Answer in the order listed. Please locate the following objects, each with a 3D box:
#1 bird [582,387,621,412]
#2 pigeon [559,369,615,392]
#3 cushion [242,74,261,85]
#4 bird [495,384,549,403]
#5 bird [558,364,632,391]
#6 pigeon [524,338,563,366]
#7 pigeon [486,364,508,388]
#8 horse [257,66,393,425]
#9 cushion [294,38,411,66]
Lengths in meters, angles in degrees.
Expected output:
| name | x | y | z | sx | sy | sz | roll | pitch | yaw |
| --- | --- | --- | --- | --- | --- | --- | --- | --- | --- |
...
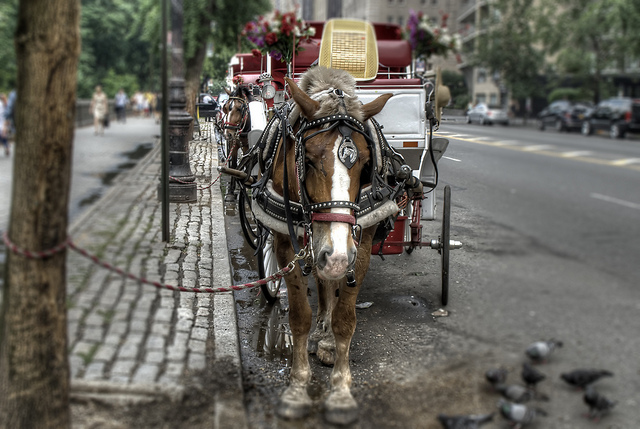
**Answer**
| name | x | y | z | sx | sy | sz | roll | pitch | yaw |
| --- | --- | --- | --- | --- | --- | --- | --- | --- | --- |
| bird | 2.991 | 1.968 | 7.030 | 0.346 | 0.268 | 0.220 | -1 | 10 | 3 |
| pigeon | 2.902 | 1.779 | 7.333 | 0.631 | 0.246 | 0.232 | -9 | 6 | 9 |
| cushion | -1.764 | -3.365 | 16.567 | 0.435 | 0.201 | 0.642 | -1 | 19 | 5 |
| bird | 2.167 | 1.907 | 7.149 | 0.599 | 0.224 | 0.193 | -3 | -6 | 19 |
| bird | 3.006 | 1.803 | 7.345 | 0.608 | 0.255 | 0.197 | -9 | 16 | -2 |
| pigeon | 2.653 | 1.603 | 7.855 | 0.479 | 0.259 | 0.298 | -7 | 14 | -33 |
| pigeon | 1.985 | 1.808 | 7.406 | 0.216 | 0.190 | 0.317 | 6 | 13 | 22 |
| horse | 0.026 | 0.212 | 6.858 | 1.079 | 3.390 | 1.568 | 0 | 11 | -5 |
| cushion | 0.444 | -2.380 | 9.764 | 1.102 | 0.753 | 1.993 | 3 | 14 | 3 |
